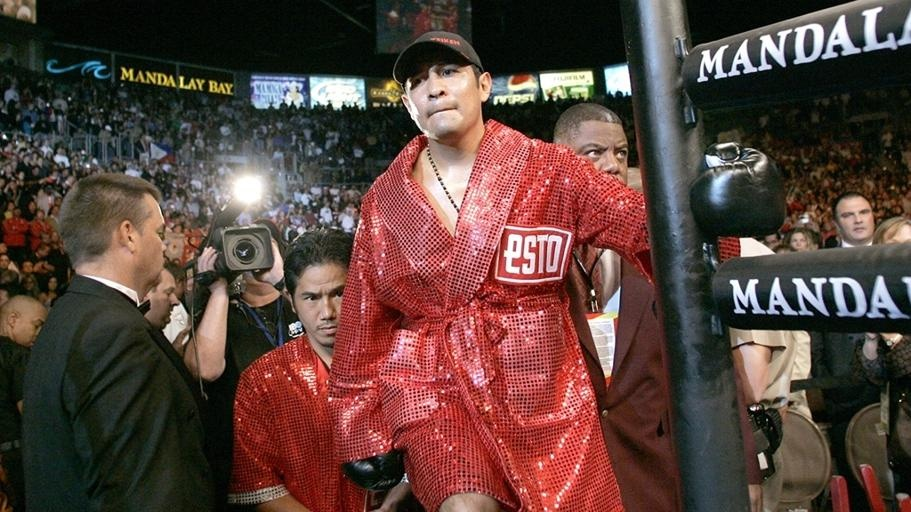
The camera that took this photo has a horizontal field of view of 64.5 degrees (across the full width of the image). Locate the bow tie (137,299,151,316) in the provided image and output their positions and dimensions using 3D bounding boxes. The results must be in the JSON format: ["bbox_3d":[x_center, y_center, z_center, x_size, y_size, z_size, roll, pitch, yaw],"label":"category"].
[{"bbox_3d":[-1.723,0.294,4.003,0.063,0.029,0.111,-14,-6,-36],"label":"bow tie"}]

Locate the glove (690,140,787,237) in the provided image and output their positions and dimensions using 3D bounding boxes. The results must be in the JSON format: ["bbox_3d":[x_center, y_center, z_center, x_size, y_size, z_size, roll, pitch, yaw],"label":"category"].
[{"bbox_3d":[1.055,-0.222,2.803,0.364,0.340,0.354,0,-5,-34],"label":"glove"}]

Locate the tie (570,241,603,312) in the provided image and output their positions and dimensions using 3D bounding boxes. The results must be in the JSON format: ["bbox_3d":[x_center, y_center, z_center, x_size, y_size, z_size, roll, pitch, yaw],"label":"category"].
[{"bbox_3d":[0.713,0.121,3.934,0.219,0.340,0.083,-9,-5,-10],"label":"tie"}]
